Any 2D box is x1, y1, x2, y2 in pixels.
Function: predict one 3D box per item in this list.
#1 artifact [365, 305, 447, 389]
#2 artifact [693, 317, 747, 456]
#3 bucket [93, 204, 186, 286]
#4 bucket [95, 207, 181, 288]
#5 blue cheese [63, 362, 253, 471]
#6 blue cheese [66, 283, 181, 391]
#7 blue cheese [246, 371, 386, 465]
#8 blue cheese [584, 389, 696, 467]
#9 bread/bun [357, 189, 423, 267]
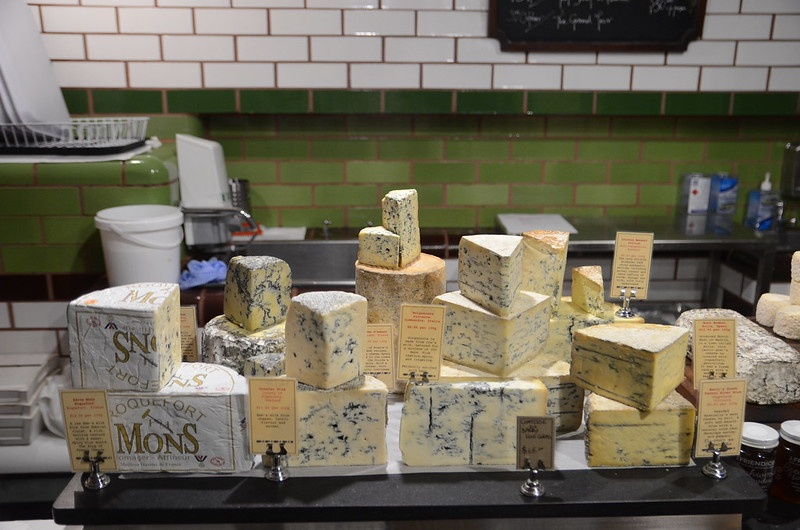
[{"bbox_3d":[0.029,0.310,2.544,0.368,0.335,0.087,1,-1,5],"label":"artifact"},{"bbox_3d":[1.142,0.442,2.497,0.152,0.346,0.382,-1,32,20],"label":"artifact"},{"bbox_3d":[-1.351,-0.099,3.697,0.449,0.405,0.467,-1,6,0],"label":"bucket"},{"bbox_3d":[-1.391,-0.100,3.776,0.446,0.403,0.465,-1,6,0],"label":"bucket"},{"bbox_3d":[-0.865,0.545,2.601,0.665,0.314,0.363,0,14,1],"label":"blue cheese"},{"bbox_3d":[-0.975,0.256,2.453,0.338,0.338,0.216,-1,12,4],"label":"blue cheese"},{"bbox_3d":[-0.275,0.456,2.532,0.450,0.285,0.248,-6,30,-9],"label":"blue cheese"},{"bbox_3d":[0.857,0.595,2.471,0.288,0.176,0.286,-1,1,8],"label":"blue cheese"},{"bbox_3d":[-0.035,-0.153,2.995,0.309,0.308,0.187,-6,17,-25],"label":"bread/bun"}]
